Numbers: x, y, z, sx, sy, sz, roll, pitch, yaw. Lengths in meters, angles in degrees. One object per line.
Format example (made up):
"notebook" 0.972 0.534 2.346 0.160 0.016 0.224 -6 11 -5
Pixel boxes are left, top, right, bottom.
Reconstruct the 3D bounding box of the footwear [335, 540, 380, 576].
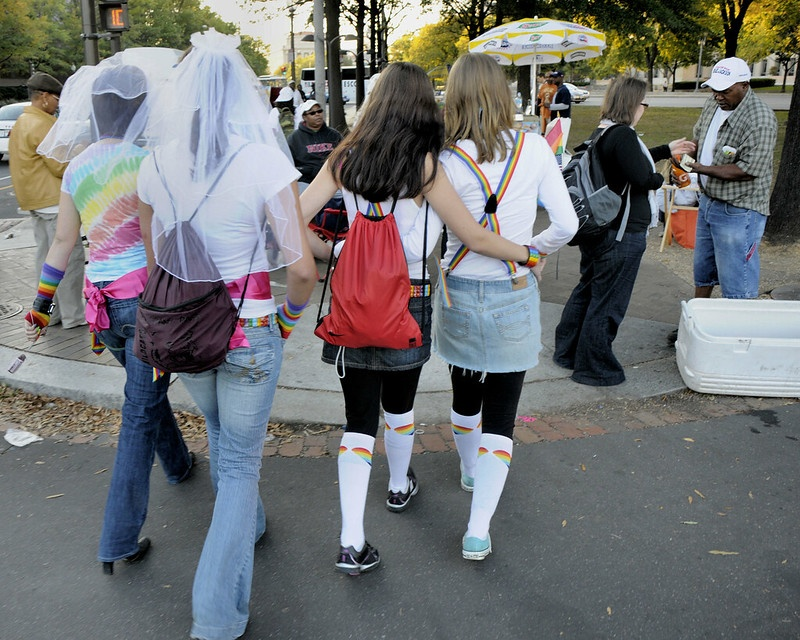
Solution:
"footwear" -0.202 1.135 3.036 0.105 0.113 0.241 1 0 26

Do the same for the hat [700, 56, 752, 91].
"hat" 2.638 -1.963 5.049 0.295 0.250 0.413 9 23 27

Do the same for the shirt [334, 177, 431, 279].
"shirt" -0.002 -0.493 2.935 0.322 0.433 0.400 23 50 30

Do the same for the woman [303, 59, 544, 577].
"woman" -0.014 0.038 2.929 0.825 2.283 0.542 -9 21 -18

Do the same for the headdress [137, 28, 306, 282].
"headdress" -0.746 -0.644 2.530 0.604 0.953 0.443 -10 22 -21

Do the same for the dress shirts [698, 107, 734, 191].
"dress shirts" 2.642 -1.454 5.395 0.201 0.728 0.161 21 9 32

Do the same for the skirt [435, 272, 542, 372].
"skirt" 0.448 -0.025 3.136 0.666 0.568 0.406 4 14 19

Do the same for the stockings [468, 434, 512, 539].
"stockings" 0.433 0.786 3.065 0.166 0.574 0.239 14 12 6

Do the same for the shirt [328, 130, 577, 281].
"shirt" 0.275 -0.568 2.849 0.765 0.736 0.787 4 27 37

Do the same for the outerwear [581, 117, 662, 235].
"outerwear" 1.641 -1.066 4.578 0.620 0.910 0.665 0 21 5

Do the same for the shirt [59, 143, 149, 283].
"shirt" -1.328 -0.486 2.891 0.377 0.609 0.142 -6 21 -12

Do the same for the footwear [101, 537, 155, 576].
"footwear" -1.342 1.152 3.131 0.080 0.106 0.244 14 34 23

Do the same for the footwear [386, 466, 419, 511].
"footwear" 0.020 0.965 3.576 0.101 0.128 0.274 3 27 15

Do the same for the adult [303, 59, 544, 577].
"adult" -0.011 0.038 2.929 0.832 2.283 0.541 -9 21 -18
